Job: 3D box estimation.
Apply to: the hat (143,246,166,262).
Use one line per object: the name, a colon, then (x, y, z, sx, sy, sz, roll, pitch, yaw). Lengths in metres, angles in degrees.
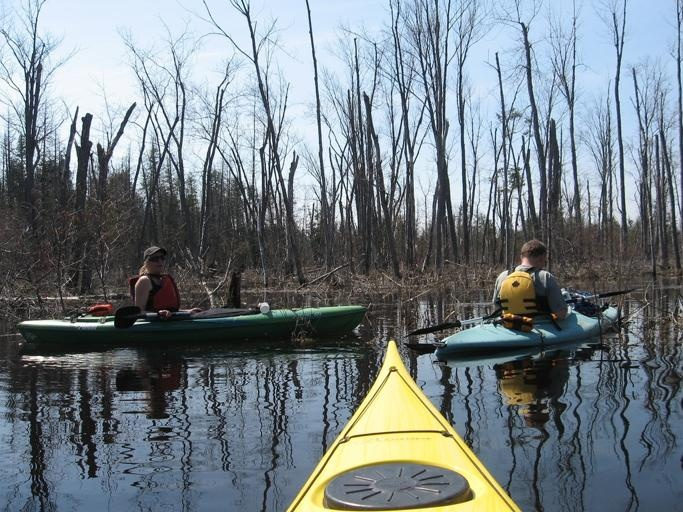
hat: (-2.982, -0.053, 14.103, 0.330, 0.234, 0.412, -3, -7, -12)

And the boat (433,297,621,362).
boat: (2.896, 0.858, 13.509, 3.052, 0.582, 1.012, -6, -11, -26)

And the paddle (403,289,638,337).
paddle: (3.126, 0.993, 14.933, 3.182, 0.278, 0.235, -10, -2, -15)

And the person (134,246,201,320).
person: (-2.934, 0.563, 14.472, 0.981, 1.398, 0.810, -9, -9, 6)

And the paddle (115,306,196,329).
paddle: (-2.981, 1.001, 14.087, 1.183, 0.480, 0.163, -3, 19, -20)

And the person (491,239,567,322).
person: (2.937, 0.402, 13.650, 1.209, 1.542, 1.086, 4, 12, 26)
